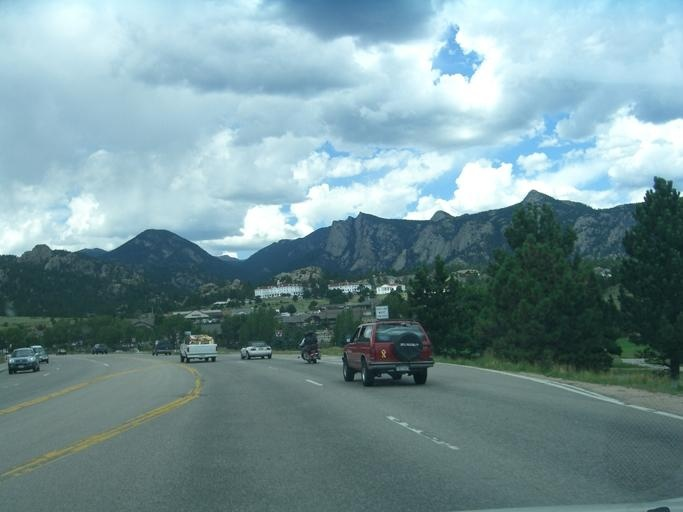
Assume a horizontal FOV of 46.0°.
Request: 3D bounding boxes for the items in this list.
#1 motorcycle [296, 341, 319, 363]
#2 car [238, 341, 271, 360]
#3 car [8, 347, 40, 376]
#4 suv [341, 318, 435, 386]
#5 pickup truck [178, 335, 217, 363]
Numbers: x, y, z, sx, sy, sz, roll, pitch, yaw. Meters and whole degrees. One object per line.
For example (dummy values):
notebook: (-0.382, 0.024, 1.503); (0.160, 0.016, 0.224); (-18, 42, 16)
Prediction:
motorcycle: (-1.795, 5.346, 45.065); (0.666, 1.296, 1.463); (1, -8, -27)
car: (-5.999, 6.540, 56.194); (1.811, 1.269, 2.120); (0, -8, -16)
car: (-20.185, 6.568, 50.909); (1.238, 1.289, 2.324); (0, -14, -21)
suv: (1.389, 3.403, 28.554); (1.668, 1.717, 3.262); (2, -6, -11)
pickup truck: (-9.858, 6.234, 54.388); (1.446, 1.304, 2.964); (2, -4, -19)
